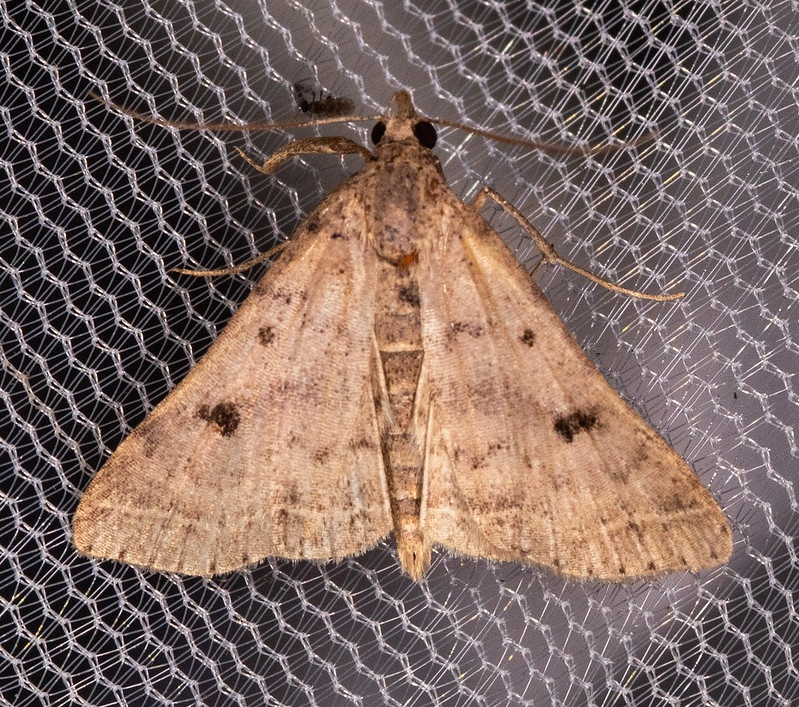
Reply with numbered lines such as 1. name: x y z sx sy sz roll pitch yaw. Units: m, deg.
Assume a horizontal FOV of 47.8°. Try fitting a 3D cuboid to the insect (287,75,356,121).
1. insect: -0.270 -0.936 3.287 0.214 0.146 0.047 -12 -1 -4
